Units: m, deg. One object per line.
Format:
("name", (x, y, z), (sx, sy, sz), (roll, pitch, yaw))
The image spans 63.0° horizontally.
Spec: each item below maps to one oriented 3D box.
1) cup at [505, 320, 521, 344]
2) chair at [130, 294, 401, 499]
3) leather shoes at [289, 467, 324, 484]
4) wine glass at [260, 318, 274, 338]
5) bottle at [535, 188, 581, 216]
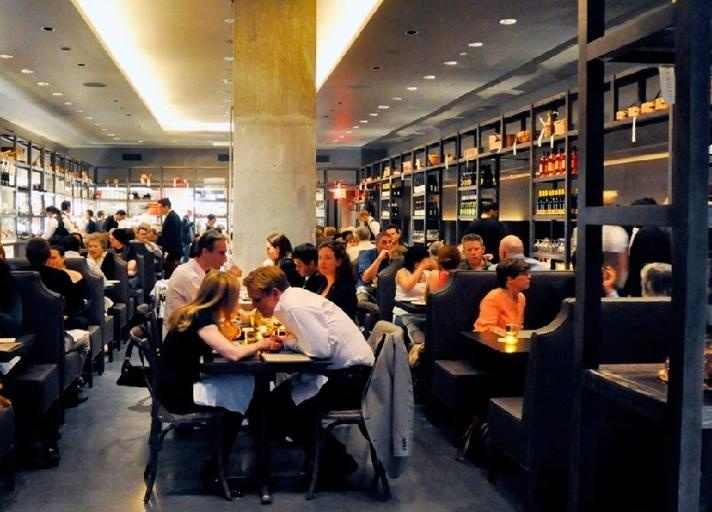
("cup", (1.164, 0.562, 4.192), (0.119, 0.152, 0.150), (1, -3, 0))
("chair", (-0.733, 0.861, 4.022), (1.438, 0.968, 1.282), (0, -2, -4))
("leather shoes", (-0.322, 1.470, 3.898), (0.189, 0.066, 0.192), (1, 0, -2))
("wine glass", (-0.635, 0.511, 4.184), (0.114, 0.128, 0.114), (0, 0, 41))
("bottle", (2.625, -0.639, 7.517), (0.449, 0.287, 0.462), (0, 0, 0))
